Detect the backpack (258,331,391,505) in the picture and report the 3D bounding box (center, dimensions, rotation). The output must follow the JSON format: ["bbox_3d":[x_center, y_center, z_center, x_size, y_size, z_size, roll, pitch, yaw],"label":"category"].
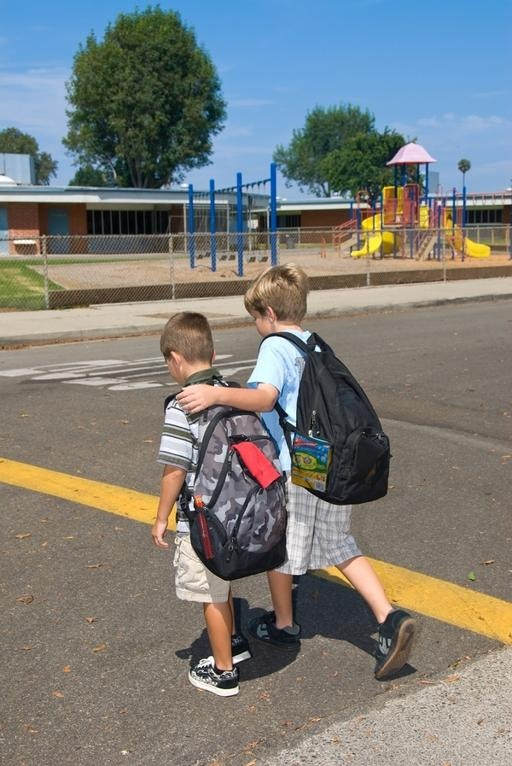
[{"bbox_3d":[0.357,0.129,2.456,0.518,0.624,0.424,-2,2,30],"label":"backpack"}]

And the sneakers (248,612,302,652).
[{"bbox_3d":[0.065,0.923,2.760,0.206,0.092,0.090,12,13,42],"label":"sneakers"}]

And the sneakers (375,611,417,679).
[{"bbox_3d":[0.447,0.848,2.373,0.078,0.240,0.128,-4,8,-26],"label":"sneakers"}]

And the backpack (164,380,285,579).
[{"bbox_3d":[-0.054,0.325,2.213,0.337,0.498,0.264,-2,7,-11],"label":"backpack"}]

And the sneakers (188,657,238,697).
[{"bbox_3d":[-0.135,0.963,2.427,0.167,0.091,0.077,12,-1,36],"label":"sneakers"}]
